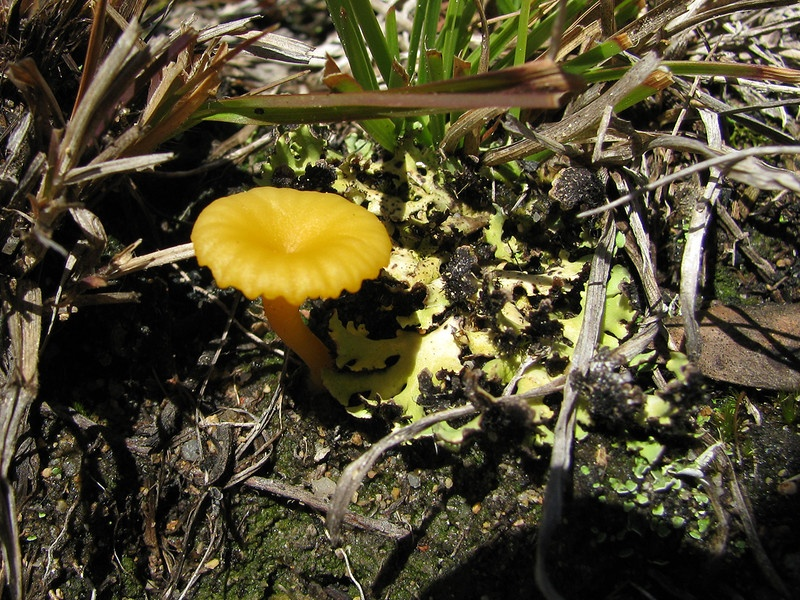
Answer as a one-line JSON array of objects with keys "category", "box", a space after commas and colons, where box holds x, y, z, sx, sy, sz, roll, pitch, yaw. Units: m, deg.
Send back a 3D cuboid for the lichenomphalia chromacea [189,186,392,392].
[{"category": "lichenomphalia chromacea", "box": [-0.517, -0.275, 3.418, 0.937, 0.236, 0.573, 2, 50, -2]}]
